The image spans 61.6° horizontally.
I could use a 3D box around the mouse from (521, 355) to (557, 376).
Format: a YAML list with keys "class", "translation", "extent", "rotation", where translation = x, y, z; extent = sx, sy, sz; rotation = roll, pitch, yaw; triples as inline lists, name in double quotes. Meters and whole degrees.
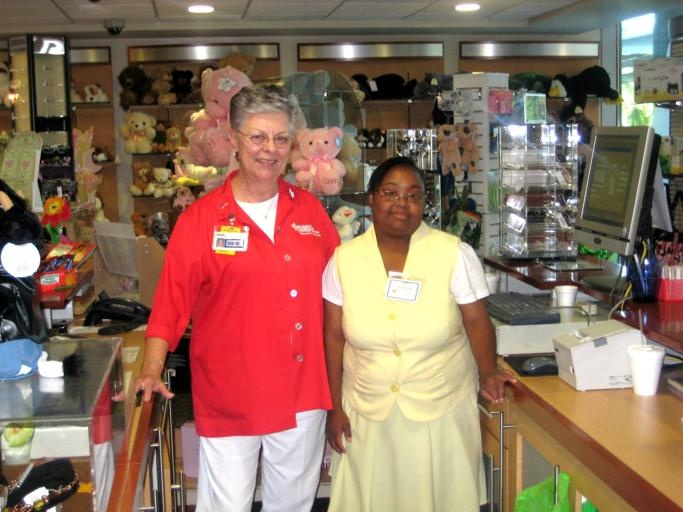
- class: "mouse"
  translation: [0.722, 0.402, 2.096]
  extent: [0.089, 0.027, 0.068]
  rotation: [-6, 16, -20]

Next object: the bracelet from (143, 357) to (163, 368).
- class: "bracelet"
  translation: [-0.585, 0.341, 1.809]
  extent: [0.055, 0.025, 0.041]
  rotation: [-9, 11, -27]

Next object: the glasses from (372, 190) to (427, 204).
- class: "glasses"
  translation: [0.196, -0.197, 1.903]
  extent: [0.158, 0.049, 0.049]
  rotation: [-3, 10, 4]

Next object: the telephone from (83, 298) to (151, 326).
- class: "telephone"
  translation: [-1.156, 0.283, 2.962]
  extent: [0.269, 0.099, 0.212]
  rotation: [1, 4, -5]

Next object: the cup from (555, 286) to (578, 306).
- class: "cup"
  translation: [0.992, 0.179, 2.545]
  extent: [0.089, 0.071, 0.086]
  rotation: [1, -1, 0]
